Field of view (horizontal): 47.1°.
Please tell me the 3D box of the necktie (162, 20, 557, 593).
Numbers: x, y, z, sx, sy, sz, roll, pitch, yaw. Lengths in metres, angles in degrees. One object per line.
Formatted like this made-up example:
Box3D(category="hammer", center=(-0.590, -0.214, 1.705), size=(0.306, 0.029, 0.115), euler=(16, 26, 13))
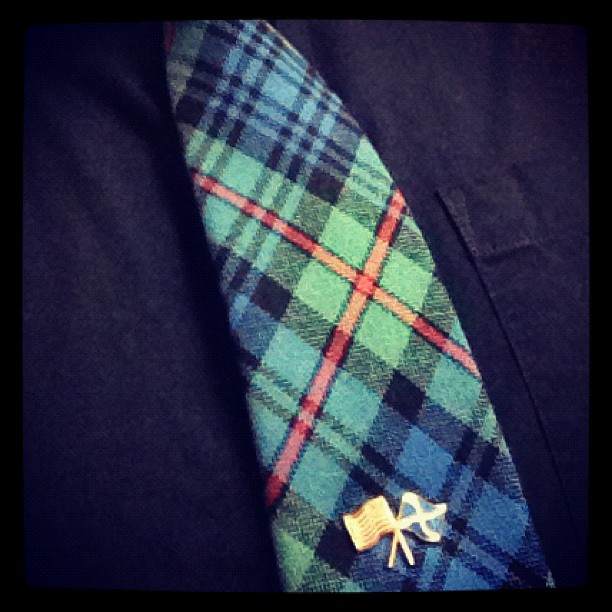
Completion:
Box3D(category="necktie", center=(0.000, -0.053, 0.890), size=(0.272, 0.051, 0.986), euler=(-4, 51, -9))
